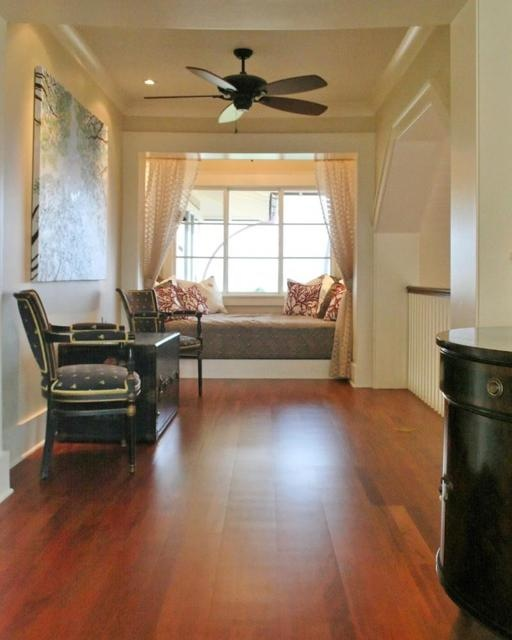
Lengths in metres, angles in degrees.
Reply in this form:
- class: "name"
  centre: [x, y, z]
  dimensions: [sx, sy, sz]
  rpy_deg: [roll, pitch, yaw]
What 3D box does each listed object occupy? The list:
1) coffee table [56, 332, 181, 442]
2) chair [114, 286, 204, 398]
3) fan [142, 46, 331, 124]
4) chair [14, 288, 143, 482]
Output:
- class: "coffee table"
  centre: [-0.812, 0.417, 3.194]
  dimensions: [0.506, 0.566, 0.881]
  rpy_deg: [-1, -1, 4]
- class: "chair"
  centre: [-0.771, 0.192, 4.012]
  dimensions: [0.653, 0.960, 0.642]
  rpy_deg: [-5, 3, -36]
- class: "fan"
  centre: [-0.137, -1.754, 3.589]
  dimensions: [0.606, 0.246, 0.690]
  rpy_deg: [0, 0, 25]
- class: "chair"
  centre: [-0.754, 0.249, 2.540]
  dimensions: [0.724, 1.087, 0.685]
  rpy_deg: [0, 3, -9]
